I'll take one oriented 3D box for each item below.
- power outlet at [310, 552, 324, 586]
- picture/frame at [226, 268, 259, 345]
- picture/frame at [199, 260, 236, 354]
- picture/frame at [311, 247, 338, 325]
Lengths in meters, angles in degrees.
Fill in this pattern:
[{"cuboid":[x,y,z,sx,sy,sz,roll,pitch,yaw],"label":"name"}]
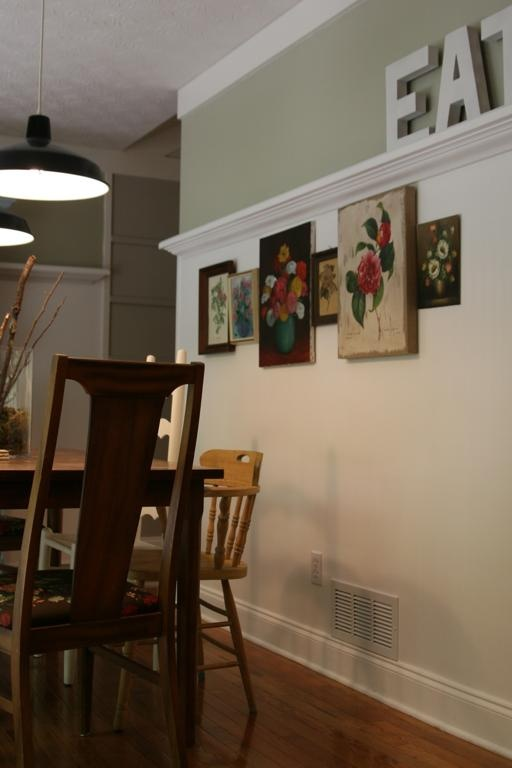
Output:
[{"cuboid":[0.251,0.762,2.204,0.011,0.129,0.075,6,-12,-27],"label":"power outlet"},{"cuboid":[-0.060,-0.394,2.744,0.031,0.555,0.314,2,-4,-32],"label":"picture/frame"},{"cuboid":[-0.205,-0.422,2.959,0.059,0.723,0.422,1,-3,-28],"label":"picture/frame"},{"cuboid":[0.286,-0.405,2.206,0.022,0.384,0.270,1,-2,-18],"label":"picture/frame"}]
